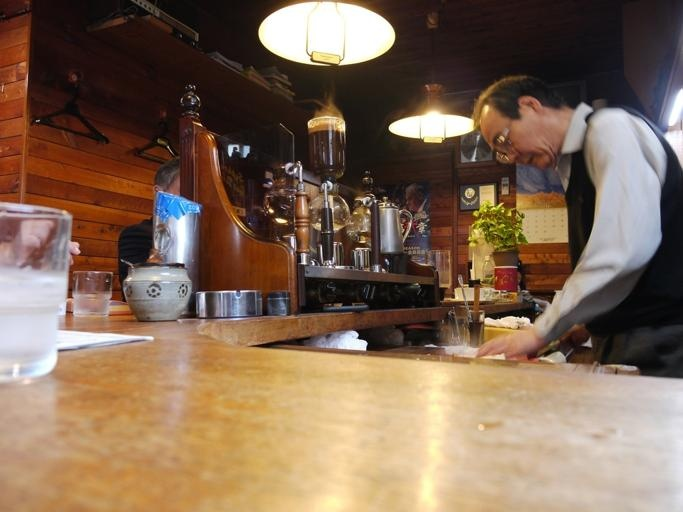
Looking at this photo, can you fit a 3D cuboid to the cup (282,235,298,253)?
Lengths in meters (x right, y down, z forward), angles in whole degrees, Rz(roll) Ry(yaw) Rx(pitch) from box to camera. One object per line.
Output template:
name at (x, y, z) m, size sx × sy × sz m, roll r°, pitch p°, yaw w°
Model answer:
cup at (-0.171, -0.038, 1.750) m, size 0.058 × 0.067 × 0.058 m, roll 0°, pitch 1°, yaw 0°

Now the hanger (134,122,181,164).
hanger at (-1.409, -0.890, 4.088) m, size 0.400 × 0.282 × 0.023 m, roll 11°, pitch 1°, yaw 7°

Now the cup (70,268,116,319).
cup at (-0.796, 0.127, 1.663) m, size 0.119 × 0.142 × 0.124 m, roll -5°, pitch -11°, yaw -1°

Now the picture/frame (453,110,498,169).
picture/frame at (1.651, -1.322, 6.519) m, size 0.800 × 0.779 × 0.188 m, roll -1°, pitch -3°, yaw 31°

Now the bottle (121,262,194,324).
bottle at (-0.501, 0.103, 1.430) m, size 0.178 × 0.147 × 0.177 m, roll -4°, pitch -8°, yaw 15°

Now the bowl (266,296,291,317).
bowl at (-0.172, 0.140, 1.423) m, size 0.051 × 0.046 × 0.052 m, roll 0°, pitch -4°, yaw 0°

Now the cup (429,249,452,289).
cup at (0.673, 0.085, 3.596) m, size 0.150 × 0.248 × 0.157 m, roll -1°, pitch 2°, yaw 0°

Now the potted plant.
potted plant at (1.166, -0.092, 3.666) m, size 0.274 × 0.327 × 0.298 m, roll -14°, pitch -2°, yaw -25°

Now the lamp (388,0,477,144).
lamp at (0.796, -1.512, 4.593) m, size 0.630 × 1.190 × 1.953 m, roll -1°, pitch 3°, yaw 12°

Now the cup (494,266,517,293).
cup at (1.131, 0.168, 3.594) m, size 0.162 × 0.186 × 0.166 m, roll 0°, pitch -5°, yaw 0°

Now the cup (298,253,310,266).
cup at (-0.114, 0.011, 1.603) m, size 0.034 × 0.038 × 0.035 m, roll -1°, pitch -2°, yaw 0°

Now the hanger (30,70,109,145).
hanger at (-1.797, -1.014, 3.494) m, size 0.029 × 0.415 × 0.525 m, roll 2°, pitch -3°, yaw 31°

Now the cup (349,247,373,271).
cup at (0.084, 0.013, 2.162) m, size 0.069 × 0.088 × 0.088 m, roll 0°, pitch -4°, yaw -1°

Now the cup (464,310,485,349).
cup at (0.442, 0.242, 1.741) m, size 0.069 × 0.115 × 0.070 m, roll 7°, pitch -7°, yaw 1°
